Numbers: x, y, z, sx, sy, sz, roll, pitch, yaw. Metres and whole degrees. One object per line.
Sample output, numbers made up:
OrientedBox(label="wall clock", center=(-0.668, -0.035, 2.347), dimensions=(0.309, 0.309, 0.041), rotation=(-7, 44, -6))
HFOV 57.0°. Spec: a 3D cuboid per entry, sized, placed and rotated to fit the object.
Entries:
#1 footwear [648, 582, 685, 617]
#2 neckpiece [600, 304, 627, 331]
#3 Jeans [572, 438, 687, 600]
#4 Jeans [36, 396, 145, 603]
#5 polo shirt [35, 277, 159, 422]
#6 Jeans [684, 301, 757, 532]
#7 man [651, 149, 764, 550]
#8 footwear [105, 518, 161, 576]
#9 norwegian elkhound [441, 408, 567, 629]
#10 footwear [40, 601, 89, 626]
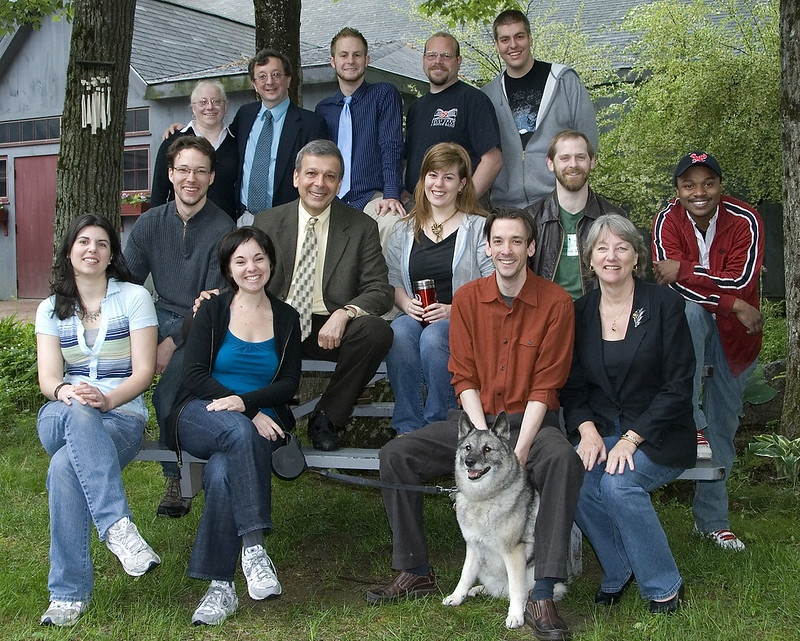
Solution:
OrientedBox(label="footwear", center=(1.608, 1.675, 4.388), dimensions=(0.247, 0.128, 0.158), rotation=(-1, 7, -7))
OrientedBox(label="neckpiece", center=(1.402, -0.007, 4.851), dimensions=(0.140, 0.135, 0.041), rotation=(25, 18, 26))
OrientedBox(label="Jeans", center=(1.416, 1.238, 4.571), dimensions=(0.660, 0.926, 0.427), rotation=(4, 9, 27))
OrientedBox(label="Jeans", center=(-1.910, 1.170, 4.544), dimensions=(0.763, 1.113, 0.410), rotation=(-8, -30, -26))
OrientedBox(label="polo shirt", center=(-2.034, 0.265, 5.108), dimensions=(0.849, 1.022, 0.520), rotation=(-5, 5, 12))
OrientedBox(label="Jeans", center=(2.438, 0.676, 5.751), dimensions=(0.547, 1.610, 0.538), rotation=(12, 20, 43))
OrientedBox(label="man", center=(2.435, 0.248, 5.895), dimensions=(0.959, 3.025, 0.913), rotation=(3, 10, 27))
OrientedBox(label="footwear", center=(-1.595, 1.349, 4.381), dimensions=(0.315, 0.346, 0.129), rotation=(4, 8, 25))
OrientedBox(label="norwegian elkhound", center=(0.547, 1.158, 4.426), dimensions=(0.555, 1.211, 0.459), rotation=(2, 8, 11))
OrientedBox(label="footwear", center=(-1.928, 1.686, 4.243), dimensions=(0.235, 0.105, 0.099), rotation=(10, -4, -39))
